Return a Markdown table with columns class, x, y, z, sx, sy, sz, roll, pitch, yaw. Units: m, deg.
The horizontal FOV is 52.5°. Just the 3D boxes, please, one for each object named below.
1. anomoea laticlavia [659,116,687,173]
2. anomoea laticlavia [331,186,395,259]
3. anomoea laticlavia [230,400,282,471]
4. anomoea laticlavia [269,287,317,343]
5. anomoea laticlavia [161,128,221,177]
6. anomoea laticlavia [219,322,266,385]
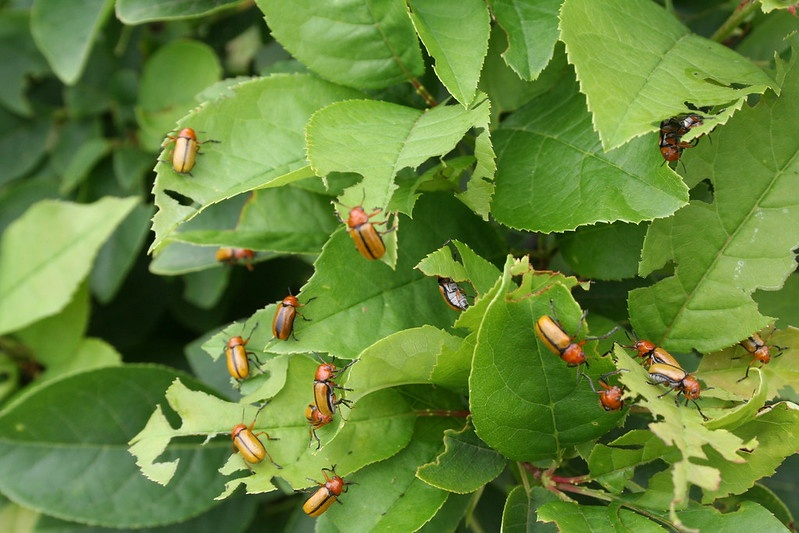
| class | x | y | z | sx | sy | sz | roll | pitch | yaw |
| --- | --- | --- | --- | --- | --- | --- | --- | --- | --- |
| anomoea laticlavia | 1.008 | -0.448 | 3.022 | 0.053 | 0.146 | 0.162 | 5 | 68 | 20 |
| anomoea laticlavia | -0.123 | -0.123 | 2.938 | 0.224 | 0.234 | 0.070 | 1 | 44 | 34 |
| anomoea laticlavia | -0.593 | 0.667 | 3.216 | 0.204 | 0.071 | 0.237 | -35 | 80 | 9 |
| anomoea laticlavia | -0.405 | 0.189 | 3.074 | 0.153 | 0.052 | 0.173 | 6 | 84 | 40 |
| anomoea laticlavia | -0.801 | -0.425 | 3.019 | 0.151 | 0.165 | 0.044 | 2 | 11 | -14 |
| anomoea laticlavia | -0.643 | 0.364 | 3.287 | 0.148 | 0.059 | 0.198 | -31 | 60 | 22 |
